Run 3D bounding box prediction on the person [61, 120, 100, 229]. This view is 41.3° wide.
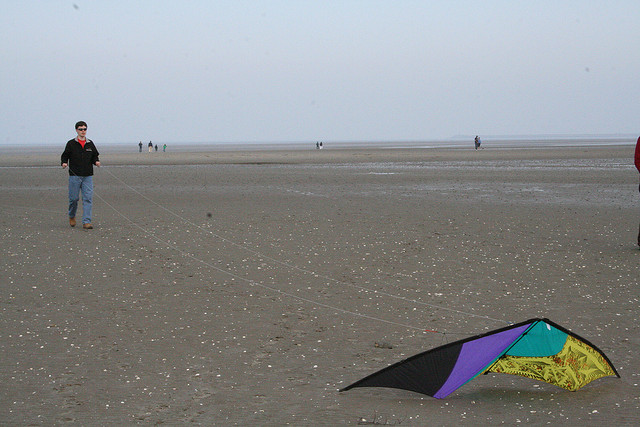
[{"bbox_3d":[-5.871,-0.922,20.754,0.845,2.611,0.858,1,9,-16],"label":"person"}]
